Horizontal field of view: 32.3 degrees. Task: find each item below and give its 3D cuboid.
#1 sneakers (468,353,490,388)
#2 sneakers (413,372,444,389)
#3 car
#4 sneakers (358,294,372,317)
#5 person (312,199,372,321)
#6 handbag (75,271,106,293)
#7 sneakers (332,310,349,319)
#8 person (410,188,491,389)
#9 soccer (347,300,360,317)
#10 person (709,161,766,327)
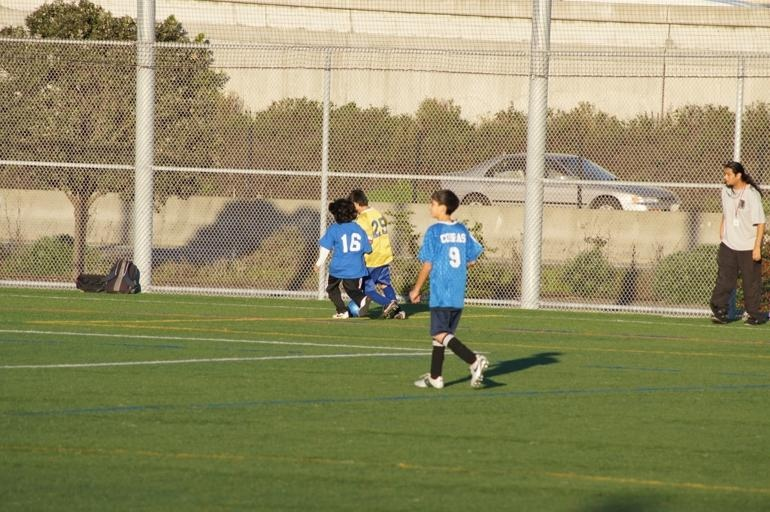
[{"bbox_3d":[1.290,1.561,17.972,0.238,0.500,0.202,22,16,36],"label":"sneakers"},{"bbox_3d":[0.661,1.696,18.120,0.413,0.184,0.166,4,6,39],"label":"sneakers"},{"bbox_3d":[3.382,-1.353,26.217,3.900,1.298,1.741,-1,5,8],"label":"car"},{"bbox_3d":[-0.259,0.835,22.353,0.146,0.342,0.146,17,6,5],"label":"sneakers"},{"bbox_3d":[-0.589,0.059,22.269,0.889,2.044,0.523,1,12,-2],"label":"person"},{"bbox_3d":[-5.256,0.490,24.623,0.519,0.329,0.348,-1,12,-12],"label":"handbag"},{"bbox_3d":[-0.655,0.992,22.467,0.271,0.126,0.111,3,4,3],"label":"sneakers"},{"bbox_3d":[0.944,0.460,17.962,1.055,2.739,1.442,3,-5,-28],"label":"person"},{"bbox_3d":[-0.459,0.891,22.517,0.247,0.293,0.252,-1,1,-5],"label":"soccer"},{"bbox_3d":[5.939,-0.144,22.362,0.838,2.826,0.563,6,13,23],"label":"person"}]
